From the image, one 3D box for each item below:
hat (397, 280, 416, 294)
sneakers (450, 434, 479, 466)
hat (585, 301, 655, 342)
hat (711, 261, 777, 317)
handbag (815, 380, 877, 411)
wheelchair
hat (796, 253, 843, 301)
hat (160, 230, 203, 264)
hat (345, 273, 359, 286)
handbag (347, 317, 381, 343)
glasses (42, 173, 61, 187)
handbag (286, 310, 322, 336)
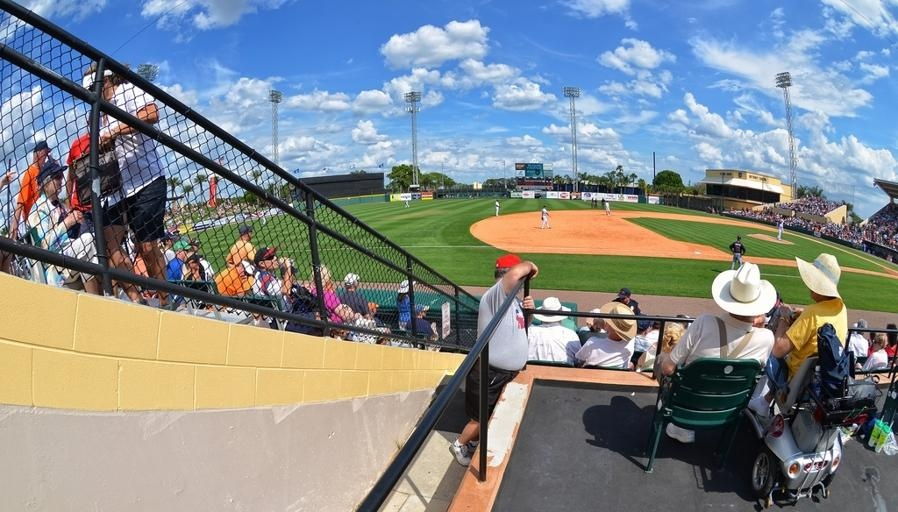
[{"bbox_3d":[-0.582,0.442,7.805,0.188,0.054,0.186,-40,20,-25],"label":"hat"},{"bbox_3d":[0.167,2.139,6.426,0.196,0.422,0.154,-30,-31,-6],"label":"sneakers"},{"bbox_3d":[2.068,0.828,7.681,0.589,0.617,0.187,-4,-38,-39],"label":"hat"},{"bbox_3d":[2.803,0.354,5.639,0.505,0.236,0.614,13,50,28],"label":"hat"},{"bbox_3d":[3.675,1.290,5.488,0.403,0.184,0.296,-4,-2,-4],"label":"handbag"},{"bbox_3d":[3.422,1.547,5.981,0.740,1.099,1.932,2,18,10],"label":"wheelchair"},{"bbox_3d":[4.005,0.213,6.361,0.485,0.254,0.581,43,25,29],"label":"hat"},{"bbox_3d":[-2.735,-0.099,6.045,0.172,0.141,0.280,30,39,6],"label":"hat"},{"bbox_3d":[-1.150,0.286,6.947,0.158,0.143,0.040,-3,25,0],"label":"hat"},{"bbox_3d":[-0.989,0.891,6.879,0.358,0.325,0.242,-1,15,-1],"label":"handbag"},{"bbox_3d":[-3.313,-0.635,4.925,0.149,0.075,0.114,-24,4,11],"label":"glasses"},{"bbox_3d":[-1.509,0.693,6.058,0.265,0.102,0.357,1,3,21],"label":"handbag"}]
